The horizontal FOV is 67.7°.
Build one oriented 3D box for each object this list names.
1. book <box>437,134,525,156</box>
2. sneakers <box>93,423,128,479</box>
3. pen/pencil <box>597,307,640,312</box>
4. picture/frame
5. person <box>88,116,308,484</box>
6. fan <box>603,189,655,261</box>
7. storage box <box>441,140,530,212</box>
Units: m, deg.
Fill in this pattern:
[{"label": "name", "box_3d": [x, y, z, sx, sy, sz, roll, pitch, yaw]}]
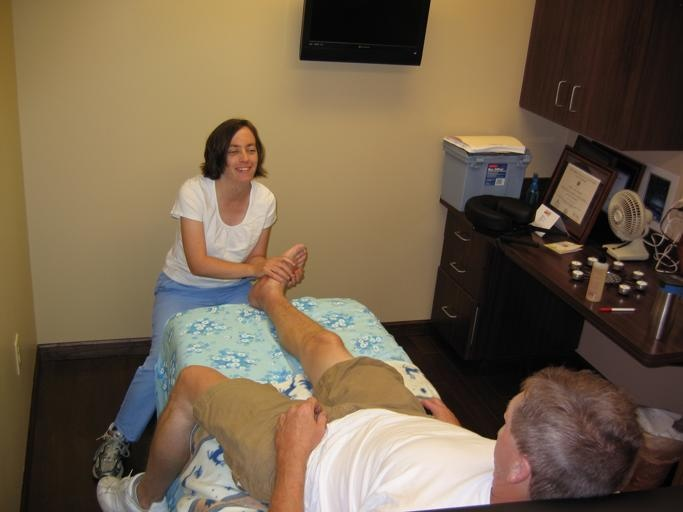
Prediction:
[{"label": "book", "box_3d": [0.856, -0.668, 3.042, 0.432, 0.068, 0.268, -3, 26, -18]}, {"label": "sneakers", "box_3d": [-1.060, 0.913, 2.340, 0.116, 0.109, 0.243, 18, 24, -29]}, {"label": "pen/pencil", "box_3d": [1.146, 0.226, 2.119, 0.138, 0.016, 0.016, 0, -6, 2]}, {"label": "picture/frame", "box_3d": [1.349, -0.330, 2.720, 0.190, 0.526, 0.503, 9, 18, -28]}, {"label": "person", "box_3d": [-0.699, 0.160, 2.530, 0.991, 1.648, 0.796, -2, 12, -22]}, {"label": "fan", "box_3d": [1.438, -0.149, 2.530, 0.151, 0.301, 0.232, -7, 32, -3]}, {"label": "storage box", "box_3d": [0.829, -0.497, 3.200, 0.514, 0.520, 0.417, -4, 22, -14]}]
